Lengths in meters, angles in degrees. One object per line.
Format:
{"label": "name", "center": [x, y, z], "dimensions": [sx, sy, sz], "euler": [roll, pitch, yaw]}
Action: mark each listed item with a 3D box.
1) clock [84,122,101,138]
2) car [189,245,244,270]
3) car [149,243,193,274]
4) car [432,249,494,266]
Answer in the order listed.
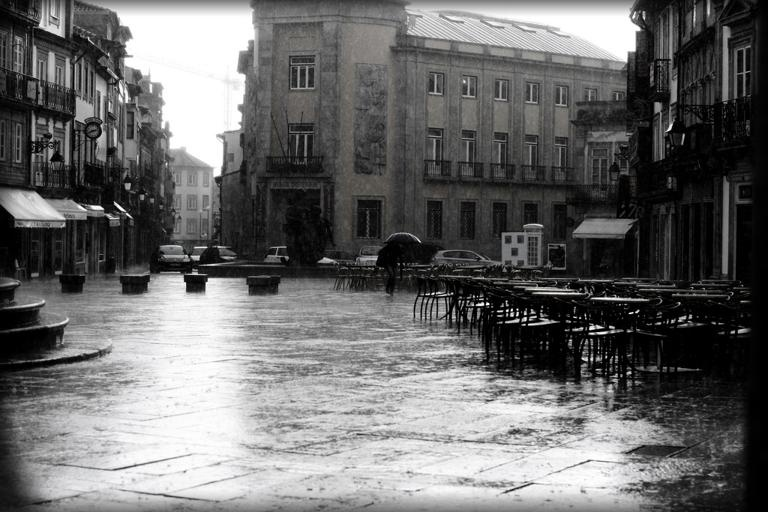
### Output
{"label": "clock", "center": [-13.311, -5.761, 56.281], "dimensions": [0.873, 1.042, 0.405], "euler": [0, -11, 2]}
{"label": "car", "center": [-9.221, 0.081, 67.716], "dimensions": [1.821, 1.467, 3.110], "euler": [0, -7, -9]}
{"label": "car", "center": [-10.867, 0.207, 62.870], "dimensions": [2.008, 1.197, 2.780], "euler": [-1, 6, -10]}
{"label": "car", "center": [3.570, 0.243, 58.183], "dimensions": [2.523, 0.813, 1.125], "euler": [0, 2, -3]}
